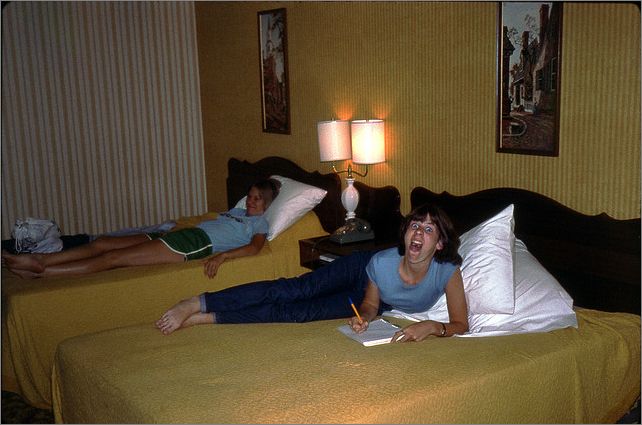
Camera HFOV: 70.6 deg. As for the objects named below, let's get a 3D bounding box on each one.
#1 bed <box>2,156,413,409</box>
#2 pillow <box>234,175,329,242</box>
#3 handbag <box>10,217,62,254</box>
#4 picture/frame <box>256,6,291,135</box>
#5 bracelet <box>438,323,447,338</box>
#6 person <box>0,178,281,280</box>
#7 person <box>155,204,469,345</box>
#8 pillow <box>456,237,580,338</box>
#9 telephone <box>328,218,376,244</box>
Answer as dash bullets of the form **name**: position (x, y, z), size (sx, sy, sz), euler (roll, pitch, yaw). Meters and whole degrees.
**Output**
- **bed**: position (-1.343, 0.613, 3.989), size (2.195, 0.995, 2.033), euler (-5, 11, -31)
- **pillow**: position (-0.376, -0.219, 4.108), size (0.635, 0.199, 0.635), euler (-40, 42, -26)
- **handbag**: position (-2.279, 0.193, 3.672), size (0.319, 0.173, 0.391), euler (3, 19, -29)
- **picture/frame**: position (-0.511, -1.541, 4.984), size (0.134, 1.324, 0.545), euler (-11, 16, -35)
- **bracelet**: position (0.678, 0.659, 2.532), size (0.022, 0.063, 0.045), euler (4, -4, -3)
- **person**: position (-1.311, 0.154, 3.780), size (1.727, 0.578, 0.844), euler (-2, 16, -29)
- **person**: position (0.075, 0.467, 2.765), size (1.381, 0.652, 0.928), euler (-1, 13, -5)
- **pillow**: position (1.208, 0.456, 2.623), size (0.538, 0.161, 0.565), euler (-8, 41, -1)
- **telephone**: position (0.274, 0.133, 3.982), size (0.258, 0.172, 0.244), euler (-2, 4, -24)
